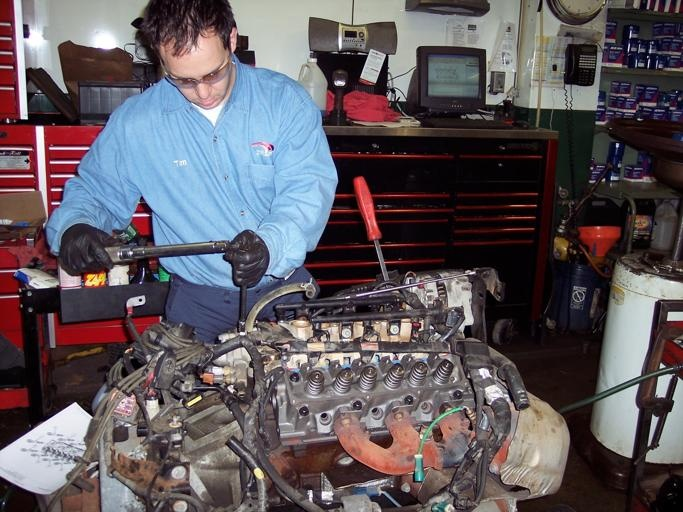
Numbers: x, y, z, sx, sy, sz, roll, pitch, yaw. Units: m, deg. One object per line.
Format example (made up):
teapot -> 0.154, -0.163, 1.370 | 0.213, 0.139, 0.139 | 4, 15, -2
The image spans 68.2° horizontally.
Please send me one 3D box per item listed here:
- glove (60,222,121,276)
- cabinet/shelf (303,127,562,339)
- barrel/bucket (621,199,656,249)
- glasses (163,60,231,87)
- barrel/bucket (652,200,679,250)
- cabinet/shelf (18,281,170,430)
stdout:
glove -> -0.843, -0.008, 1.685 | 0.246, 0.181, 0.139 | 12, 18, 43
cabinet/shelf -> 0.550, -0.233, 3.129 | 1.455, 1.272, 0.571 | -2, 7, -8
barrel/bucket -> 2.549, -0.252, 4.389 | 0.230, 0.467, 0.689 | 9, 16, 33
glasses -> -0.469, -0.604, 1.688 | 0.194, 0.089, 0.103 | -4, 14, -17
barrel/bucket -> 3.071, -0.286, 4.810 | 0.177, 0.482, 0.395 | 8, 16, 32
cabinet/shelf -> -1.158, 0.435, 2.323 | 0.706, 0.695, 0.254 | -4, 16, -17
